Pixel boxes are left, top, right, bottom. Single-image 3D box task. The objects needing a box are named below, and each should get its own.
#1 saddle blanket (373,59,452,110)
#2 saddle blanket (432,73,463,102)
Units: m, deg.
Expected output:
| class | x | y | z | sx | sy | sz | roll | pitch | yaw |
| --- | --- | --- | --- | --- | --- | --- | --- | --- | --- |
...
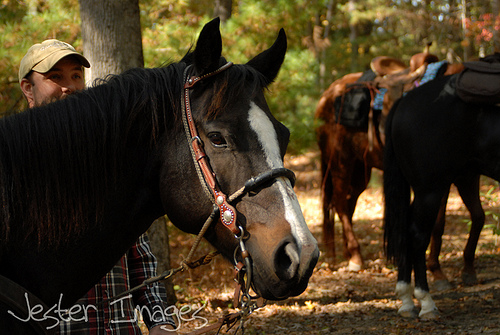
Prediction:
| class | x | y | z | sx | sy | sz | roll | pitch | yaw |
| --- | --- | --- | --- | --- | --- | --- | --- | --- | --- |
| saddle blanket | 2.189 | -1.092 | 9.770 | 1.066 | 0.419 | 0.479 | -8 | -28 | 22 |
| saddle blanket | 2.403 | -0.971 | 8.858 | 0.358 | 0.306 | 0.309 | -3 | 12 | 24 |
